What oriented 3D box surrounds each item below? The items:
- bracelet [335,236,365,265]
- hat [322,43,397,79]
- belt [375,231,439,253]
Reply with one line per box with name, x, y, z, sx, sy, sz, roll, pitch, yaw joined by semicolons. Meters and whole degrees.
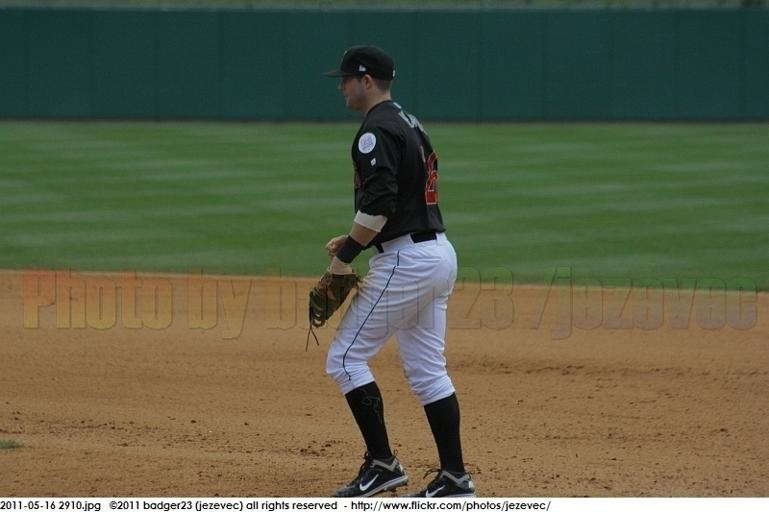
bracelet;-0.350;-0.053;17.413;0.232;0.292;0.204;31;7;-26
hat;-0.107;-1.852;17.383;0.838;0.354;0.540;3;2;32
belt;0.222;-0.123;17.142;0.584;0.183;0.071;-2;3;0
